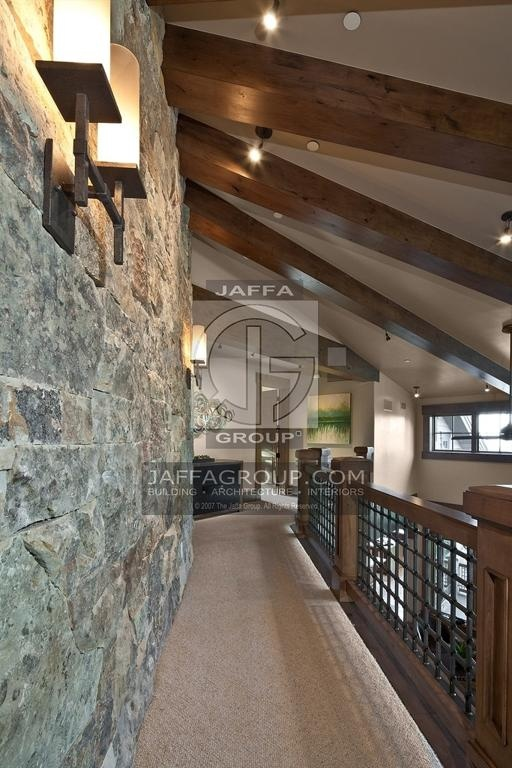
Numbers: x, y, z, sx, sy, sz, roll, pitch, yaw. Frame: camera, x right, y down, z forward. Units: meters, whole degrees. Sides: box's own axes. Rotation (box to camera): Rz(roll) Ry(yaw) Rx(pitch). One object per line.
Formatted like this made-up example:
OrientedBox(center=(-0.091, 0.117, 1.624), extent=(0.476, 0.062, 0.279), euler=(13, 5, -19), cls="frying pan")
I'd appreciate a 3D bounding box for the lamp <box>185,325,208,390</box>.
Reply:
OrientedBox(center=(-0.499, -0.219, 4.291), extent=(0.098, 0.498, 0.137), euler=(11, -2, -1), cls="lamp")
